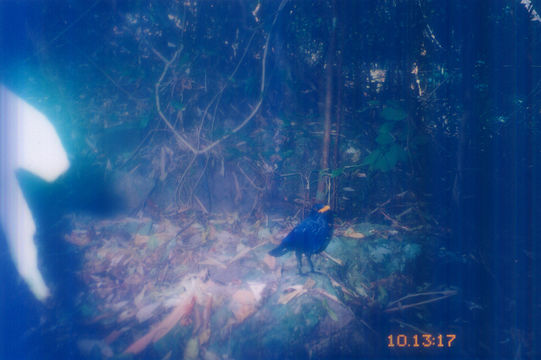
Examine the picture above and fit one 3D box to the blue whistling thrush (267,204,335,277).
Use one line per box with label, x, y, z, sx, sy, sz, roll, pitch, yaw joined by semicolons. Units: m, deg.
blue whistling thrush;0.217;0.347;3.509;0.466;0.432;0.242;-6;15;-16
